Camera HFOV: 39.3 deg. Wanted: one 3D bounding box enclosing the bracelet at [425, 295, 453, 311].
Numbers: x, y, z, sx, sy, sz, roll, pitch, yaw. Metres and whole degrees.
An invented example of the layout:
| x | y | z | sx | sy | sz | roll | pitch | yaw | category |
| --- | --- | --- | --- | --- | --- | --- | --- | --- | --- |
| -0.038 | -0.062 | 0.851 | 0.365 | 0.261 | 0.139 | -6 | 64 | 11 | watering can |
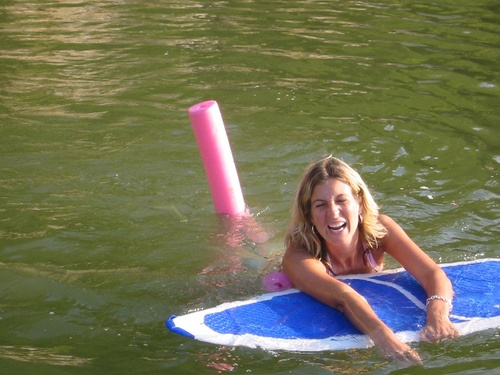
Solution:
| x | y | z | sx | sy | sz | roll | pitch | yaw | category |
| --- | --- | --- | --- | --- | --- | --- | --- | --- | --- |
| 1.832 | 1.127 | 6.820 | 0.215 | 0.173 | 0.098 | -6 | 22 | 19 | bracelet |

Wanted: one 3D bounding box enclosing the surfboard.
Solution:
| x | y | z | sx | sy | sz | roll | pitch | yaw | category |
| --- | --- | --- | --- | --- | --- | --- | --- | --- | --- |
| 0.910 | 1.233 | 6.848 | 4.334 | 0.407 | 0.751 | -5 | 47 | -4 | surfboard |
